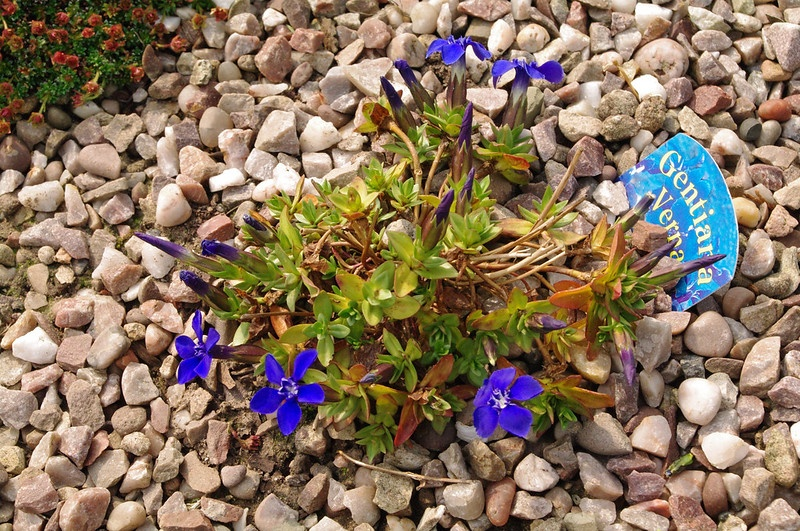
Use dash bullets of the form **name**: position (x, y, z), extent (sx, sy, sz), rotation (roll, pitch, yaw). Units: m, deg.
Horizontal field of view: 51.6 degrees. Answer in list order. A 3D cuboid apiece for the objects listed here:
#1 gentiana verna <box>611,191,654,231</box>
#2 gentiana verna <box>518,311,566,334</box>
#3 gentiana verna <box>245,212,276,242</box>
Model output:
- **gentiana verna**: position (1.141, -0.260, 4.038), extent (0.074, 0.067, 0.241), rotation (46, 110, -2)
- **gentiana verna**: position (0.641, 0.256, 3.664), extent (0.172, 0.079, 0.074), rotation (10, 88, 13)
- **gentiana verna**: position (-0.655, -0.177, 3.872), extent (0.054, 0.162, 0.049), rotation (-47, 69, 9)
